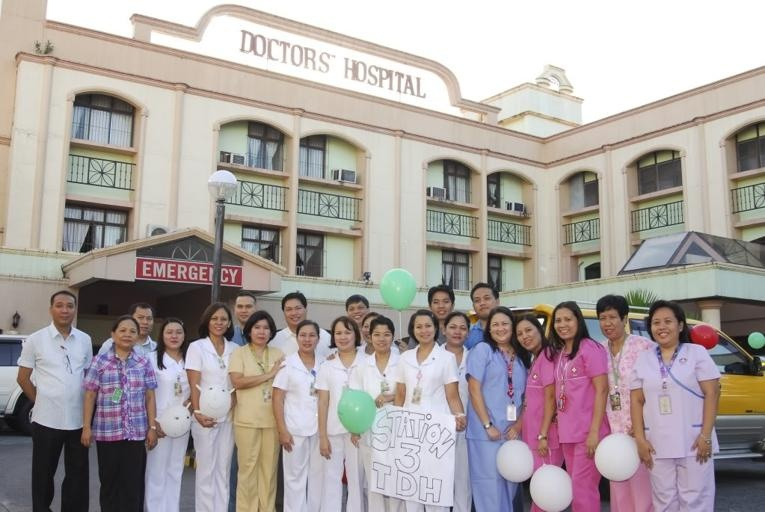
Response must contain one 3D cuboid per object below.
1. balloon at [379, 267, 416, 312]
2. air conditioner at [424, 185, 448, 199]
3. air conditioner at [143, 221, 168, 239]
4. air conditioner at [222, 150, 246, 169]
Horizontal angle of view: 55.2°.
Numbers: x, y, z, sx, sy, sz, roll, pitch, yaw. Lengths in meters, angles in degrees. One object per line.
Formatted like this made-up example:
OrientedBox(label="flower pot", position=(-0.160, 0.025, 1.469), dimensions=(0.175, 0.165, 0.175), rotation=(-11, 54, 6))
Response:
OrientedBox(label="balloon", position=(0.261, 0.541, 12.048), dimensions=(0.642, 0.761, 0.655), rotation=(-6, 14, -9))
OrientedBox(label="air conditioner", position=(2.300, -2.745, 31.912), dimensions=(0.989, 0.726, 0.539), rotation=(3, -7, -38))
OrientedBox(label="air conditioner", position=(-7.854, -0.984, 25.431), dimensions=(0.743, 0.460, 0.688), rotation=(4, -8, -18))
OrientedBox(label="air conditioner", position=(-5.734, -3.766, 27.880), dimensions=(0.987, 0.548, 0.641), rotation=(10, 14, -28))
